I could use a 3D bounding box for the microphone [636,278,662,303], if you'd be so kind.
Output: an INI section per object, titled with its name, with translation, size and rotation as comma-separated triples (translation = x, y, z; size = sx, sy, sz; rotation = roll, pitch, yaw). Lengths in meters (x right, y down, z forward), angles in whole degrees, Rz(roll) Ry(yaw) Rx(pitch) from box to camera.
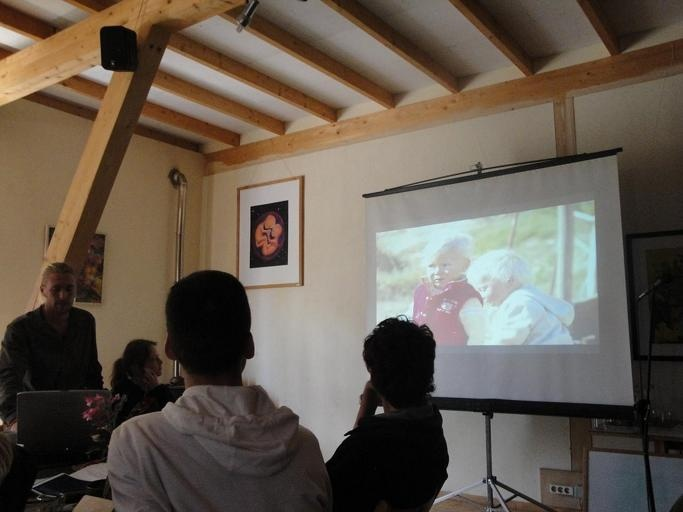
[microphone]
translation = 2.267, 0.250, 3.972
size = 0.052, 0.189, 0.178
rotation = 9, -4, -7

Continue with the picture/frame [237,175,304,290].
[picture/frame]
translation = -0.748, -0.245, 5.919
size = 1.092, 1.465, 0.056
rotation = -4, -8, 35

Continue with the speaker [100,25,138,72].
[speaker]
translation = -1.438, -1.323, 3.474
size = 0.192, 0.295, 0.176
rotation = -5, 10, -25

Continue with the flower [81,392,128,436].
[flower]
translation = -1.255, 0.831, 2.924
size = 0.197, 0.245, 0.188
rotation = 1, -9, -11

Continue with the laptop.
[laptop]
translation = -1.455, 0.823, 2.932
size = 0.479, 0.442, 0.396
rotation = 1, 21, -25
